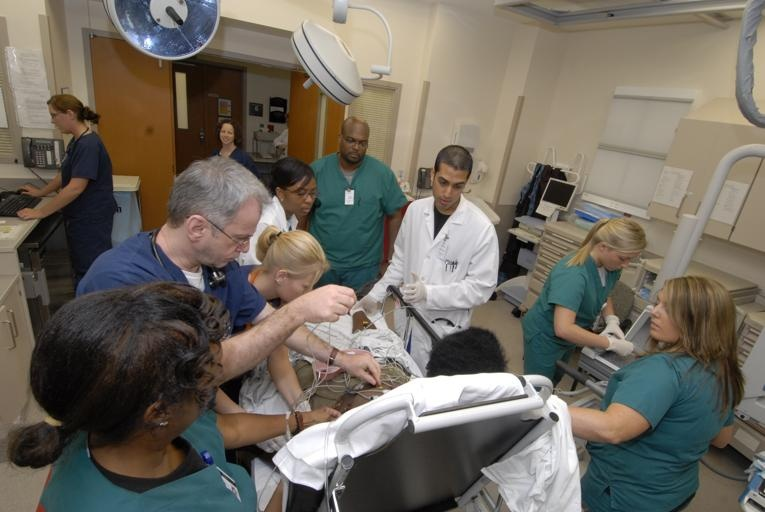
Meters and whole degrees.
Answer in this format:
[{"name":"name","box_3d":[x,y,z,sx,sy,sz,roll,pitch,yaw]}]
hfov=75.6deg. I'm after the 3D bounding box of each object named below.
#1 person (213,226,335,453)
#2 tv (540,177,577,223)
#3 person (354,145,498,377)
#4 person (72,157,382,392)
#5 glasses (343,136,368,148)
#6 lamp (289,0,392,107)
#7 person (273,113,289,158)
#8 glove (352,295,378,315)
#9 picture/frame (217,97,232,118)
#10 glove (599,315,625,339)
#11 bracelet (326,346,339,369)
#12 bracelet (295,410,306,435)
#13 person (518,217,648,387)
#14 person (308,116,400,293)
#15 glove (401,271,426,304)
[{"name":"person","box_3d":[-0.517,0.443,2.735,0.459,1.148,1.274,3,-7,-29]},{"name":"tv","box_3d":[1.880,-0.627,5.279,0.164,0.426,0.323,5,33,-41]},{"name":"person","box_3d":[0.350,0.348,3.673,0.830,2.242,0.649,21,28,35]},{"name":"person","box_3d":[-0.727,0.173,2.549,1.385,1.250,0.829,12,20,-1]},{"name":"glasses","box_3d":[-0.211,-0.878,3.791,0.193,0.071,0.056,2,22,-19]},{"name":"lamp","box_3d":[-0.261,-1.377,3.336,0.470,0.673,0.634,17,23,20]},{"name":"person","box_3d":[-1.734,-1.915,8.388,0.203,0.511,0.707,2,23,-17]},{"name":"glove","box_3d":[-0.109,0.338,3.331,0.120,0.134,0.053,-19,36,-16]},{"name":"picture/frame","box_3d":[-2.578,-2.435,8.089,0.082,0.287,0.247,23,25,34]},{"name":"glove","box_3d":[1.643,0.498,3.522,0.148,0.068,0.193,7,61,10]},{"name":"bracelet","box_3d":[-0.253,0.512,2.549,0.028,0.080,0.068,12,-23,-6]},{"name":"bracelet","box_3d":[-0.399,0.792,2.375,0.032,0.085,0.057,2,2,-28]},{"name":"person","box_3d":[1.456,0.328,3.519,0.547,1.326,0.507,37,69,25]},{"name":"person","box_3d":[-0.284,-0.085,4.233,0.885,2.172,0.488,1,28,-5]},{"name":"glove","box_3d":[0.208,0.202,3.333,0.097,0.217,0.149,0,2,-13]}]
